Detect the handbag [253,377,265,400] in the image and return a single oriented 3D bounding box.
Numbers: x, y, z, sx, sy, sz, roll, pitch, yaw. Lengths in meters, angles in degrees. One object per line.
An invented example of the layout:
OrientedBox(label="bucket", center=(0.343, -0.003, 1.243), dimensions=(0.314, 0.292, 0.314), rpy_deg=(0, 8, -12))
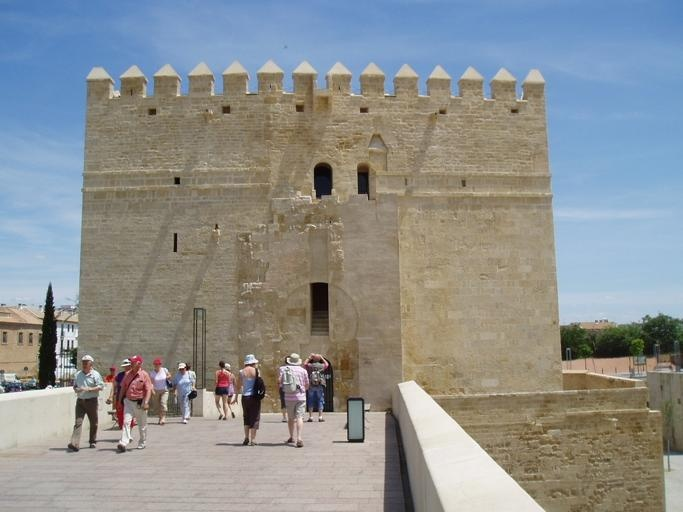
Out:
OrientedBox(label="handbag", center=(-2.143, 3.427, 24.190), dimensions=(0.241, 0.614, 0.253), rpy_deg=(4, 8, 19))

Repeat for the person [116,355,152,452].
OrientedBox(label="person", center=(-5.412, 3.779, 23.804), dimensions=(0.936, 2.351, 0.870), rpy_deg=(4, -6, -34))

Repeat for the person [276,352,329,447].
OrientedBox(label="person", center=(-1.284, 3.796, 24.473), dimensions=(0.740, 2.334, 1.563), rpy_deg=(1, 8, -3))

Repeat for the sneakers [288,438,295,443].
OrientedBox(label="sneakers", center=(-1.332, 4.830, 24.412), dimensions=(0.124, 0.129, 0.352), rpy_deg=(2, 0, -5))

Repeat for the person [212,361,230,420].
OrientedBox(label="person", center=(-3.750, 4.235, 28.953), dimensions=(0.422, 1.655, 1.242), rpy_deg=(0, 8, -8))

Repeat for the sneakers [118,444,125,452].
OrientedBox(label="sneakers", center=(-5.605, 4.833, 23.463), dimensions=(0.112, 0.263, 0.112), rpy_deg=(-3, 34, -8))

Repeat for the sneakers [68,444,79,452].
OrientedBox(label="sneakers", center=(-6.890, 4.833, 23.615), dimensions=(0.330, 0.206, 0.228), rpy_deg=(3, 8, 7))

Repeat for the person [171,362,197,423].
OrientedBox(label="person", center=(-4.765, 4.186, 28.164), dimensions=(0.596, 1.899, 1.550), rpy_deg=(0, 8, -9))

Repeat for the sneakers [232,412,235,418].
OrientedBox(label="sneakers", center=(-3.427, 4.963, 29.106), dimensions=(0.095, 0.083, 0.328), rpy_deg=(4, 3, -7))

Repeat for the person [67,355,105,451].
OrientedBox(label="person", center=(-6.658, 3.746, 24.029), dimensions=(0.890, 2.496, 1.209), rpy_deg=(-1, 8, -15))

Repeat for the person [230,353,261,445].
OrientedBox(label="person", center=(-2.452, 3.777, 24.458), dimensions=(0.578, 2.346, 1.133), rpy_deg=(0, 8, -8))
